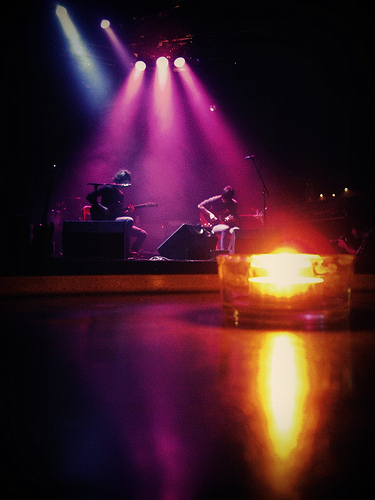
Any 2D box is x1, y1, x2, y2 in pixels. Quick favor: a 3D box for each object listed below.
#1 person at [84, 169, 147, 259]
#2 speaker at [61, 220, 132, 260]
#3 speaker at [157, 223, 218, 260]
[{"bbox_3d":[-0.929,-0.515,6.246,0.716,1.372,0.613,3,-10,-6],"label":"person"},{"bbox_3d":[-0.995,-0.117,4.775,0.622,0.397,0.151,0,3,-1],"label":"speaker"},{"bbox_3d":[-0.007,-0.081,5.755,0.423,0.479,0.600,2,-2,36],"label":"speaker"}]
